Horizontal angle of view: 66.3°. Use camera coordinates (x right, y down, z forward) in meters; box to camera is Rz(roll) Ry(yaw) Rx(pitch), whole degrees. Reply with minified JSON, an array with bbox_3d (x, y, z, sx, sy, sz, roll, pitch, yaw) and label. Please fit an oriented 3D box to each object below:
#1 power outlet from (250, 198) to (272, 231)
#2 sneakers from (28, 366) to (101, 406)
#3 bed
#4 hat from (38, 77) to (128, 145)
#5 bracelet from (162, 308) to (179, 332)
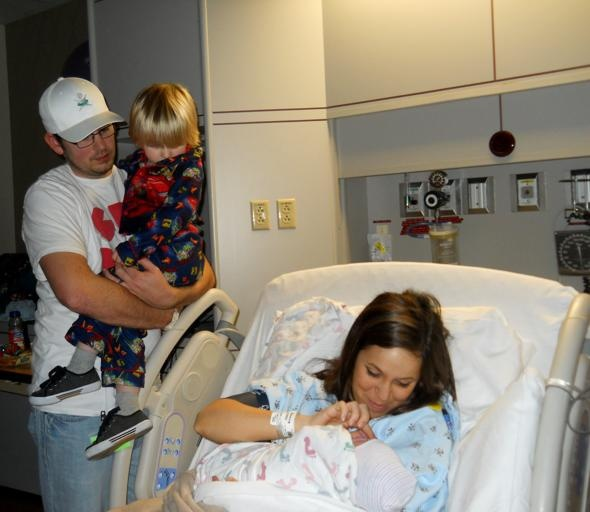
[{"bbox_3d":[-0.186,-0.221,2.338,0.154,0.223,0.024,-2,0,-8],"label":"power outlet"},{"bbox_3d":[-0.697,0.386,1.353,0.202,0.122,0.083,-1,5,-5],"label":"sneakers"},{"bbox_3d":[0.136,0.378,1.311,0.877,0.665,0.656,-2,-4,29],"label":"bed"},{"bbox_3d":[-0.722,-0.460,1.480,0.270,0.166,0.194,8,33,40],"label":"hat"},{"bbox_3d":[-0.410,0.214,1.507,0.027,0.078,0.056,43,-9,-28],"label":"bracelet"}]
